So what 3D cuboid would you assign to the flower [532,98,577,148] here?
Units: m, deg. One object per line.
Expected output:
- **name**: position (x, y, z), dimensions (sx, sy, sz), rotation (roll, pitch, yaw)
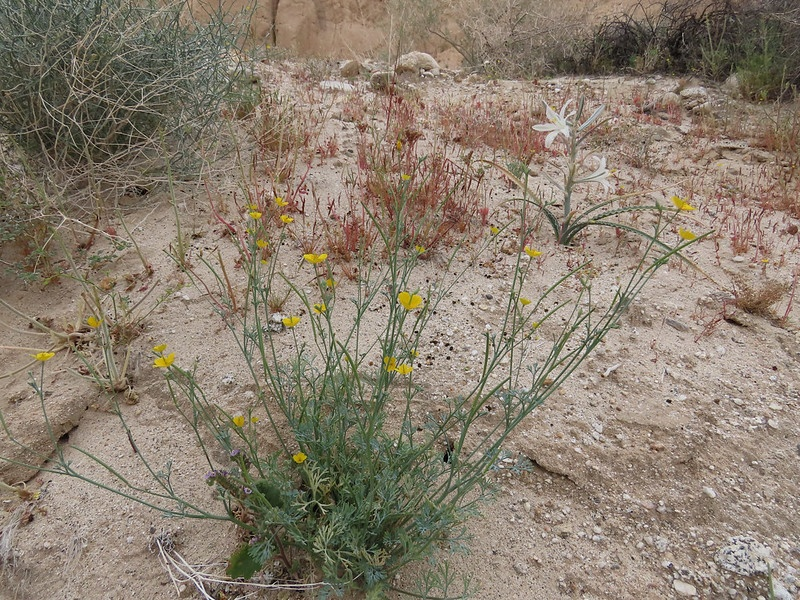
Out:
- **flower**: position (1.076, -1.308, 4.207), dimensions (0.287, 0.133, 0.260), rotation (22, 13, 17)
